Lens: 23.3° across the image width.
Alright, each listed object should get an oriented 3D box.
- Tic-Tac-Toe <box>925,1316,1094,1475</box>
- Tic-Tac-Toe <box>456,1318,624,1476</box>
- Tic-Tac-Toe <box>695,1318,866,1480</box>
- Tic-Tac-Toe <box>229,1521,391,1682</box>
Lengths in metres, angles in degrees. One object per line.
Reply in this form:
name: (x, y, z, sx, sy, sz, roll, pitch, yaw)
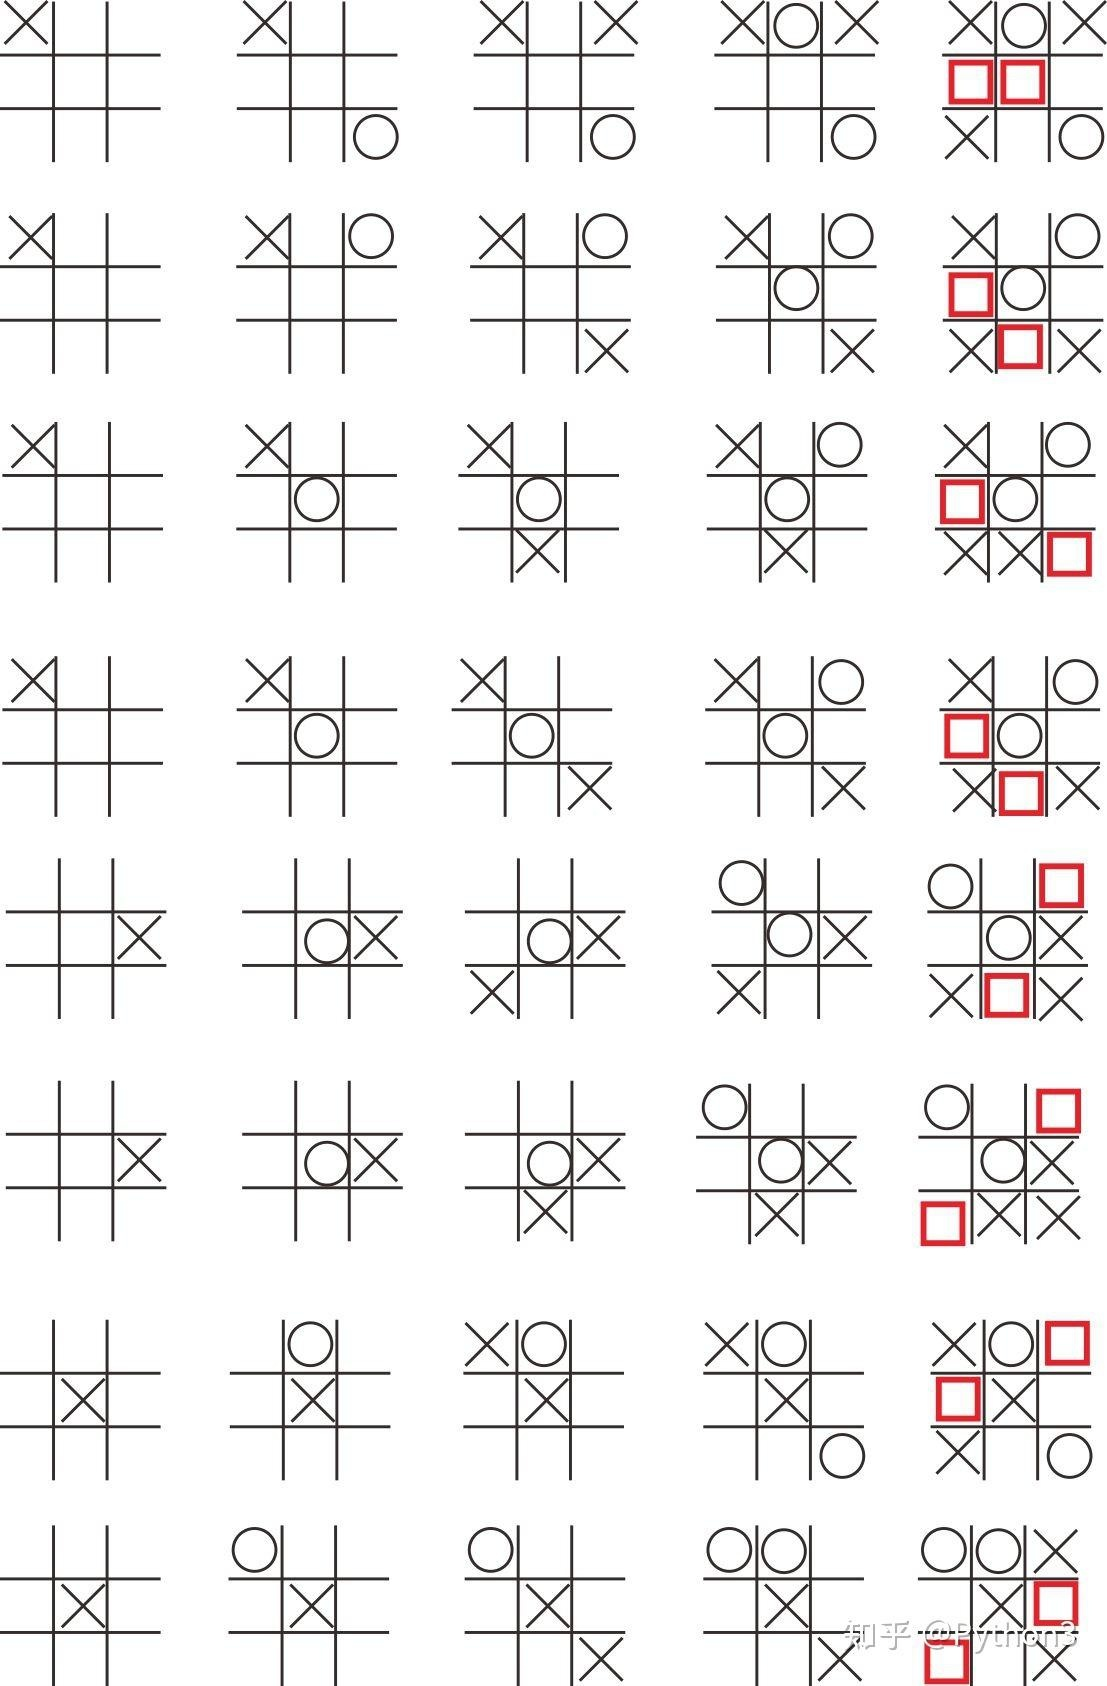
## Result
Tic-Tac-Toe: (0.408, 0.495, 2.398, 0.121, 0.143, 0.003, 0, -3, 0)
Tic-Tac-Toe: (-0.010, 0.494, 2.388, 0.111, 0.129, 0.003, -6, -6, -10)
Tic-Tac-Toe: (0.194, 0.495, 2.391, 0.112, 0.130, 0.003, -8, -6, -11)
Tic-Tac-Toe: (-0.216, 0.682, 2.392, 0.120, 0.142, 0.005, 1, 1, 2)
